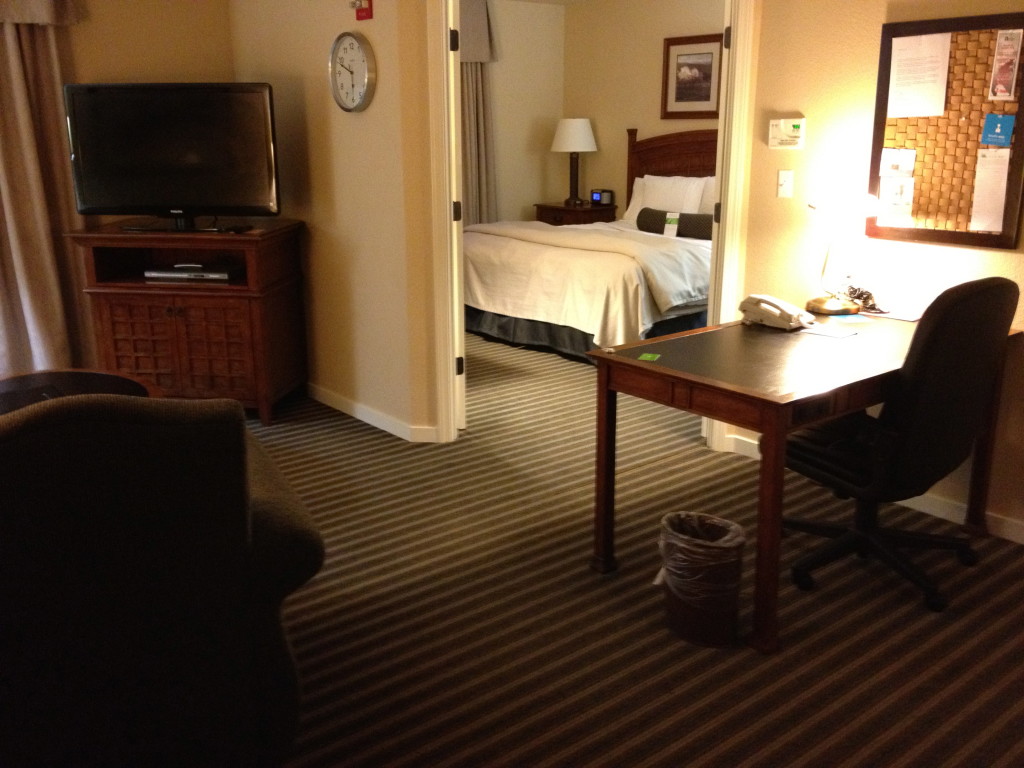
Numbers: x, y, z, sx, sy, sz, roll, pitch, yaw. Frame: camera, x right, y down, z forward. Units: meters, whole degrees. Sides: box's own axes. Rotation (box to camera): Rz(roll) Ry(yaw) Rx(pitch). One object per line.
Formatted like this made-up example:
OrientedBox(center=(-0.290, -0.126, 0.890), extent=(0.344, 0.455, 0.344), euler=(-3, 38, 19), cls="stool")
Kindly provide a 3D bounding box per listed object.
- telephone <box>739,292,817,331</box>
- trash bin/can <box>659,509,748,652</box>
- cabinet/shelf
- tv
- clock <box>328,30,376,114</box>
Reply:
OrientedBox(center=(1.195, -0.272, 3.578), extent=(0.156, 0.102, 0.292), euler=(-13, 21, -40), cls="telephone")
OrientedBox(center=(0.698, 0.715, 2.953), extent=(0.313, 0.382, 0.301), euler=(5, 21, 15), cls="trash bin/can")
OrientedBox(center=(-1.961, -0.329, 4.994), extent=(1.119, 1.078, 0.690), euler=(2, 17, 4), cls="cabinet/shelf")
OrientedBox(center=(-1.985, -1.257, 4.658), extent=(0.999, 0.677, 0.259), euler=(0, 22, 0), cls="tv")
OrientedBox(center=(-0.871, -1.634, 4.367), extent=(0.077, 0.461, 0.422), euler=(-13, 20, -43), cls="clock")
